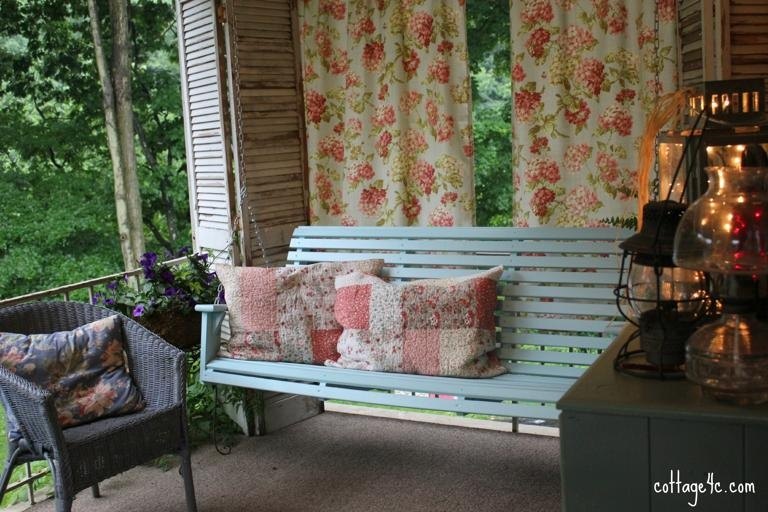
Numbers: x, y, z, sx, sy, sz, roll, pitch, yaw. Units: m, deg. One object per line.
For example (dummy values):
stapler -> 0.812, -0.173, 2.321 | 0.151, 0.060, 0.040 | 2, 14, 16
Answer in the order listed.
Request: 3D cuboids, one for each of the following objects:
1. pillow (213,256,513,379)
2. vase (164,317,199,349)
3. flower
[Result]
pillow -> -0.126, 0.296, 3.326 | 1.476, 0.518, 0.350 | 0, 7, 20
vase -> -1.162, 0.439, 3.839 | 0.186, 0.132, 0.194 | 1, 4, 3
flower -> -1.137, 0.276, 3.950 | 0.679, 0.476, 0.614 | -8, -9, 16
